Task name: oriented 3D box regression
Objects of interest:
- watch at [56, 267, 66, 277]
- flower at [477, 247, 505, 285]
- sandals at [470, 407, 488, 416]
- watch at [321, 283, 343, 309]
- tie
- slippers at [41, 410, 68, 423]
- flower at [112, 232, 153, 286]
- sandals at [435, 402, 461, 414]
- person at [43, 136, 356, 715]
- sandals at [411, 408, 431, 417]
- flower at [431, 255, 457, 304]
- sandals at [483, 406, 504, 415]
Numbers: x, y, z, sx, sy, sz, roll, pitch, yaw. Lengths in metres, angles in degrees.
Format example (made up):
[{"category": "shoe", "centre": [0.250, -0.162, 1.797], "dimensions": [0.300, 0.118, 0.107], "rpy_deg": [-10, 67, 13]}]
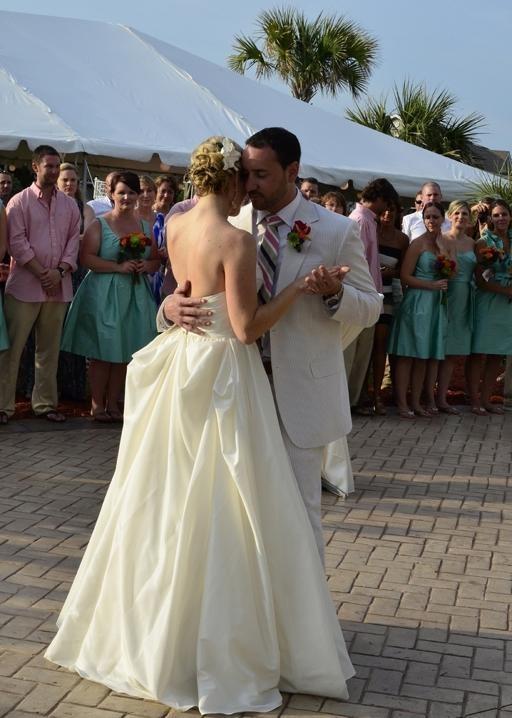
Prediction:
[{"category": "watch", "centre": [-1.720, -0.772, 5.904], "dimensions": [0.067, 0.092, 0.089], "rpy_deg": [-21, 33, -33]}, {"category": "flower", "centre": [2.589, -1.061, 7.404], "dimensions": [0.269, 0.448, 0.319], "rpy_deg": [5, 8, 13]}, {"category": "sandals", "centre": [2.522, 0.598, 7.527], "dimensions": [0.088, 0.049, 0.149], "rpy_deg": [-1, -2, -19]}, {"category": "watch", "centre": [0.255, -0.198, 2.176], "dimensions": [0.061, 0.060, 0.073], "rpy_deg": [2, 5, 12]}, {"category": "tie", "centre": [0.047, -0.260, 2.263], "dimensions": [0.072, 0.449, 0.059], "rpy_deg": [-1, -10, 14]}, {"category": "slippers", "centre": [-1.872, 0.529, 6.215], "dimensions": [0.261, 0.058, 0.102], "rpy_deg": [4, 9, 36]}, {"category": "flower", "centre": [-1.114, -0.870, 6.088], "dimensions": [0.426, 0.431, 0.460], "rpy_deg": [4, -7, -19]}, {"category": "sandals", "centre": [2.175, 0.559, 7.534], "dimensions": [0.288, 0.099, 0.102], "rpy_deg": [5, 10, 33]}, {"category": "person", "centre": [-0.137, 0.210, 2.074], "dimensions": [0.986, 1.784, 0.521], "rpy_deg": [5, 8, 9]}, {"category": "sandals", "centre": [1.817, 0.586, 7.264], "dimensions": [0.089, 0.048, 0.196], "rpy_deg": [1, -2, -32]}, {"category": "flower", "centre": [2.046, -0.850, 7.132], "dimensions": [0.194, 0.498, 0.486], "rpy_deg": [8, 9, 27]}, {"category": "sandals", "centre": [2.744, 0.589, 7.659], "dimensions": [0.100, 0.085, 0.266], "rpy_deg": [-1, -1, -36]}]
